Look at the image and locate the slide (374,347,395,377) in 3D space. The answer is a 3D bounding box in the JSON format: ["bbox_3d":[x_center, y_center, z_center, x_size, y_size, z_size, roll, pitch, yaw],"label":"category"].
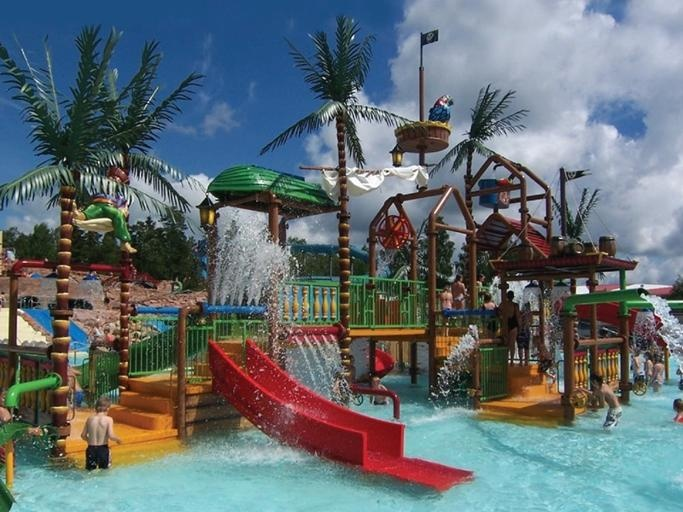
[{"bbox_3d":[1.253,3.588,23.733,0.728,0.855,0.571,-15,-30,-20],"label":"slide"}]

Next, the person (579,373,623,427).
[{"bbox_3d":[6.512,3.625,18.096,0.743,1.088,1.075,0,4,-13],"label":"person"}]

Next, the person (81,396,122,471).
[{"bbox_3d":[-4.948,3.859,14.908,0.668,2.075,0.623,5,17,-15],"label":"person"}]

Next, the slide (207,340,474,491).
[{"bbox_3d":[-0.276,3.149,15.882,6.039,2.409,1.423,1,-5,36],"label":"slide"}]
